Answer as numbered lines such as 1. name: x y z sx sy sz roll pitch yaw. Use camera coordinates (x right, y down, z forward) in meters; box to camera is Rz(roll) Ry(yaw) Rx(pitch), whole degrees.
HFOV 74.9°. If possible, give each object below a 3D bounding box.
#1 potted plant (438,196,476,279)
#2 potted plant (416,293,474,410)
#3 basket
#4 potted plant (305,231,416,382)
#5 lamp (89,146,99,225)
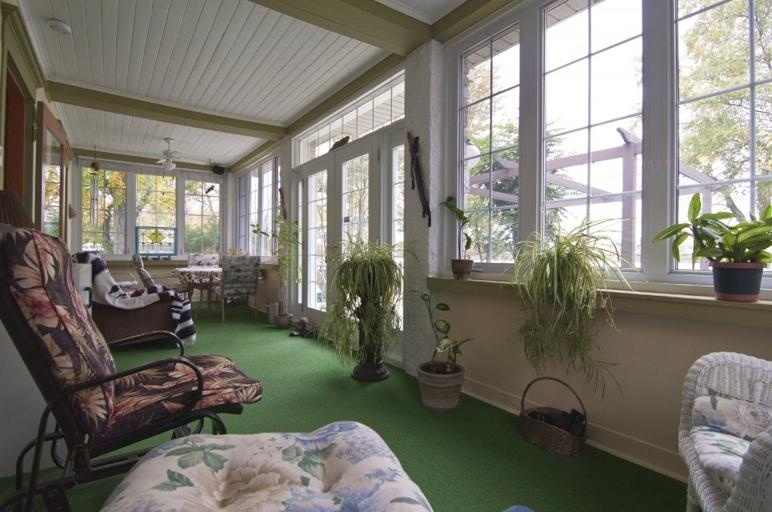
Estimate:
1. potted plant: 0.662 -0.172 4.456 0.244 0.737 0.466 -1 2 -8
2. potted plant: 0.504 0.790 4.268 0.430 0.878 0.675 0 2 8
3. basket: 1.233 1.172 3.646 0.487 0.470 0.273 -4 -10 42
4. potted plant: -0.127 0.541 5.094 1.088 1.569 1.262 2 -4 37
5. lamp: -4.942 -1.176 8.550 0.163 1.262 0.134 -2 3 -30
